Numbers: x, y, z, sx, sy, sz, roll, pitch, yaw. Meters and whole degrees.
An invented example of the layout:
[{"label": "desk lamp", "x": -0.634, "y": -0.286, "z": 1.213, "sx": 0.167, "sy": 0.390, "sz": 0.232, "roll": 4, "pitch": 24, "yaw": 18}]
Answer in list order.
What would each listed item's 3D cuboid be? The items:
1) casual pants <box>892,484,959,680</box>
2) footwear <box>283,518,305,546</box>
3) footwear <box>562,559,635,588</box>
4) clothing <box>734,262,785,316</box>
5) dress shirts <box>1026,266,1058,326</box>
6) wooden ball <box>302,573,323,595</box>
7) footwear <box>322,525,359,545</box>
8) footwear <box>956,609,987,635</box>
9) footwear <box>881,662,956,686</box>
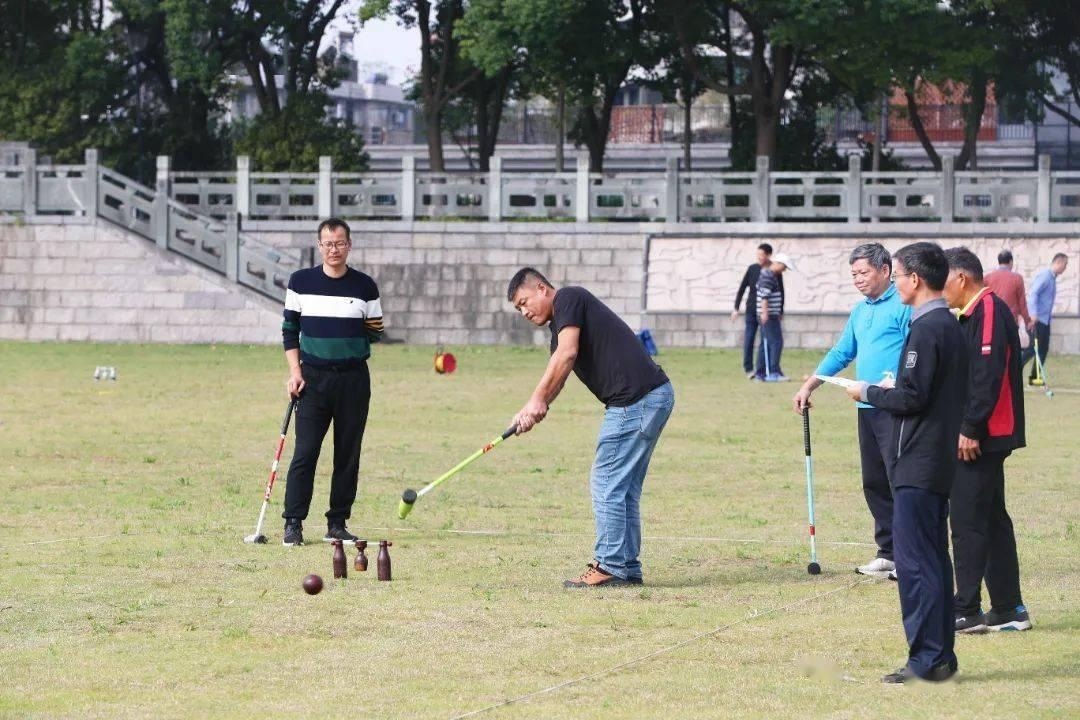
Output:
[{"label": "casual pants", "x": 5.838, "y": 3.329, "z": 38.993, "sx": 0.888, "sy": 2.847, "sz": 0.389, "roll": -1, "pitch": 2, "yaw": 9}, {"label": "footwear", "x": -4.138, "y": 2.786, "z": 41.918, "sx": 0.349, "sy": 0.452, "sz": 0.312, "roll": -1, "pitch": 2, "yaw": -6}, {"label": "footwear", "x": 0.903, "y": 3.413, "z": 40.949, "sx": 1.271, "sy": 0.449, "sz": 0.409, "roll": 2, "pitch": -6, "yaw": -2}, {"label": "clothing", "x": 4.625, "y": -1.469, "z": 54.150, "sx": 1.502, "sy": 1.442, "sz": 0.558, "roll": 1, "pitch": -5, "yaw": 4}, {"label": "dress shirts", "x": 10.422, "y": -1.265, "z": 53.021, "sx": 0.458, "sy": 0.900, "sz": 1.483, "roll": 2, "pitch": 6, "yaw": 23}, {"label": "wooden ball", "x": -3.625, "y": 3.490, "z": 40.155, "sx": 0.317, "sy": 0.293, "sz": 0.316, "roll": 2, "pitch": 1, "yaw": 0}, {"label": "footwear", "x": -3.333, "y": 2.854, "z": 41.900, "sx": 0.633, "sy": 0.240, "sz": 0.262, "roll": 0, "pitch": -3, "yaw": 16}, {"label": "footwear", "x": 6.727, "y": 4.082, "z": 39.908, "sx": 0.668, "sy": 0.275, "sz": 0.254, "roll": 3, "pitch": 0, "yaw": 28}, {"label": "footwear", "x": 5.754, "y": 4.722, "z": 38.922, "sx": 1.186, "sy": 0.419, "sz": 0.374, "roll": 1, "pitch": -11, "yaw": 1}]
